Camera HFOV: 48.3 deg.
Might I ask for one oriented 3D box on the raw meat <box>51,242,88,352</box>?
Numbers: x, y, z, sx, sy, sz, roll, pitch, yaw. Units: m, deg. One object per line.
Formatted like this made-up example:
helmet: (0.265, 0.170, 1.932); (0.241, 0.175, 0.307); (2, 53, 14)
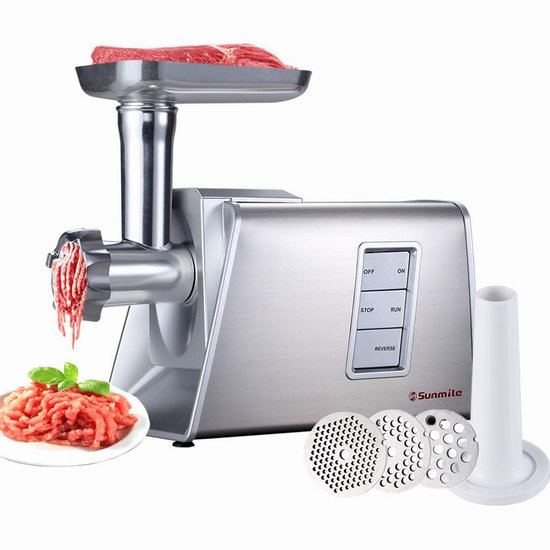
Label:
raw meat: (-0.437, 0.048, 1.296); (0.067, 0.237, 0.196); (1, 7, -22)
